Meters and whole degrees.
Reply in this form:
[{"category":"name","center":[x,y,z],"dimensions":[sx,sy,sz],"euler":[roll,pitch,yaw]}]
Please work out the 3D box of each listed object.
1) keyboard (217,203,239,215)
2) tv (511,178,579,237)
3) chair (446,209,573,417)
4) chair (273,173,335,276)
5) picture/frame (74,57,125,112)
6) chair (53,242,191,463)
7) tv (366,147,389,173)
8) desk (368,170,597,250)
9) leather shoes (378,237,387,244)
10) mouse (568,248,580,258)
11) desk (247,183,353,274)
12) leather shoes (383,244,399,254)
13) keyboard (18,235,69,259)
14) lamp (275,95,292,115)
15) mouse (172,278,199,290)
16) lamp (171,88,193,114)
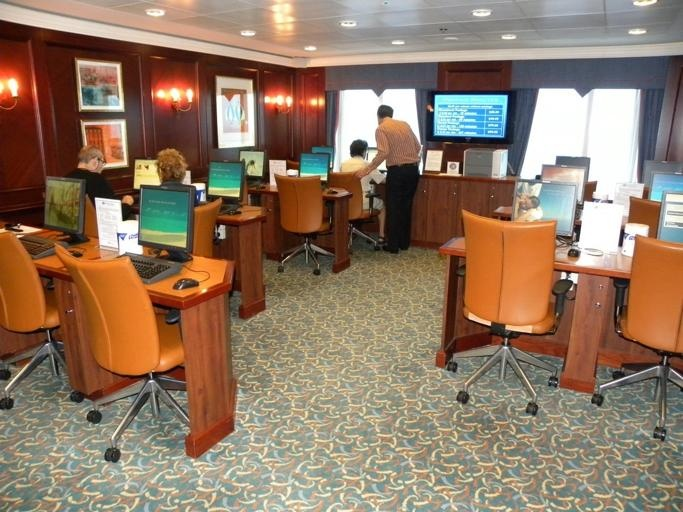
[{"category":"keyboard","center":[-1.242,-0.526,5.427],"dimensions":[0.197,0.040,0.183],"euler":[6,15,18]},{"category":"tv","center":[1.734,-0.418,4.189],"dimensions":[0.696,0.566,0.068],"euler":[7,13,22]},{"category":"chair","center":[1.284,0.413,3.801],"dimensions":[0.902,1.498,0.596],"euler":[5,20,17]},{"category":"chair","center":[-0.522,-0.481,6.689],"dimensions":[0.743,1.321,0.829],"euler":[0,19,4]},{"category":"picture/frame","center":[-3.304,-2.340,6.585],"dimensions":[0.070,0.758,0.920],"euler":[7,14,33]},{"category":"chair","center":[-1.470,0.614,3.418],"dimensions":[0.648,1.412,0.712],"euler":[-12,21,-27]},{"category":"tv","center":[0.522,-1.417,7.213],"dimensions":[0.259,0.365,0.583],"euler":[3,18,12]},{"category":"desk","center":[1.609,-0.603,5.923],"dimensions":[1.448,0.750,0.457],"euler":[6,9,20]},{"category":"leather shoes","center":[0.672,-0.271,8.092],"dimensions":[0.114,0.093,0.114],"euler":[5,11,21]},{"category":"mouse","center":[1.889,-0.029,3.980],"dimensions":[0.088,0.053,0.091],"euler":[-1,12,35]},{"category":"desk","center":[-0.571,-0.385,6.611],"dimensions":[1.356,0.848,0.458],"euler":[8,21,25]},{"category":"leather shoes","center":[0.757,-0.129,7.577],"dimensions":[0.106,0.108,0.269],"euler":[-12,22,-24]},{"category":"keyboard","center":[-2.499,-0.087,4.028],"dimensions":[0.335,0.057,0.234],"euler":[14,19,33]},{"category":"lamp","center":[-1.229,-3.150,10.092],"dimensions":[0.183,0.337,0.479],"euler":[22,28,33]},{"category":"mouse","center":[-1.050,0.182,3.295],"dimensions":[0.074,0.036,0.128],"euler":[15,19,41]},{"category":"lamp","center":[-2.569,-2.534,7.865],"dimensions":[0.119,0.359,0.533],"euler":[3,18,13]}]
